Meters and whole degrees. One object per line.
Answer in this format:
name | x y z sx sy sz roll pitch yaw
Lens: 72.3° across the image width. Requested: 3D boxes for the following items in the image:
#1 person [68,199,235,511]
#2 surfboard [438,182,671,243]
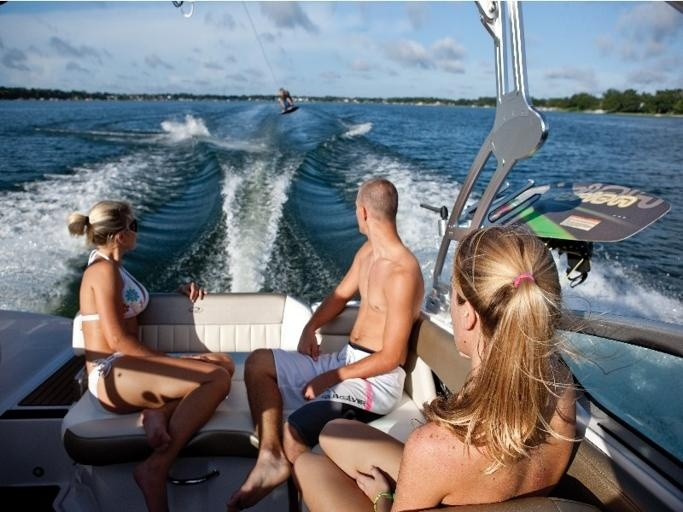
person | -1.093 0.521 2.773 0.718 1.504 1.260 -12 26 -37
surfboard | 1.379 -0.286 2.948 0.633 0.258 1.033 -24 30 -31
